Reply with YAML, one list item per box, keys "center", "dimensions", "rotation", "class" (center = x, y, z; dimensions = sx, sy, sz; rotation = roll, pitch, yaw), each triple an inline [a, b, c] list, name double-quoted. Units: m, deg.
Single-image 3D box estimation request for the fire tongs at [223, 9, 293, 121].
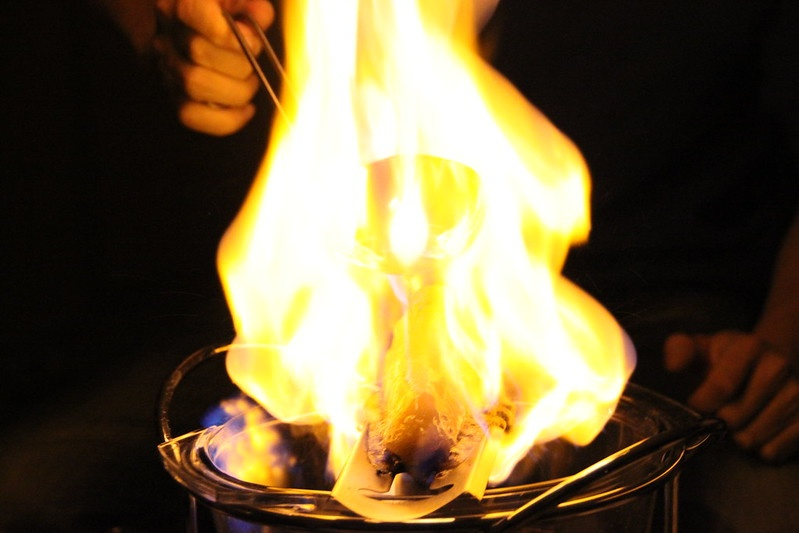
- center: [-0.271, -0.377, 1.785]
  dimensions: [0.036, 0.083, 0.341]
  rotation: [-25, 57, -12]
  class: "fire tongs"
